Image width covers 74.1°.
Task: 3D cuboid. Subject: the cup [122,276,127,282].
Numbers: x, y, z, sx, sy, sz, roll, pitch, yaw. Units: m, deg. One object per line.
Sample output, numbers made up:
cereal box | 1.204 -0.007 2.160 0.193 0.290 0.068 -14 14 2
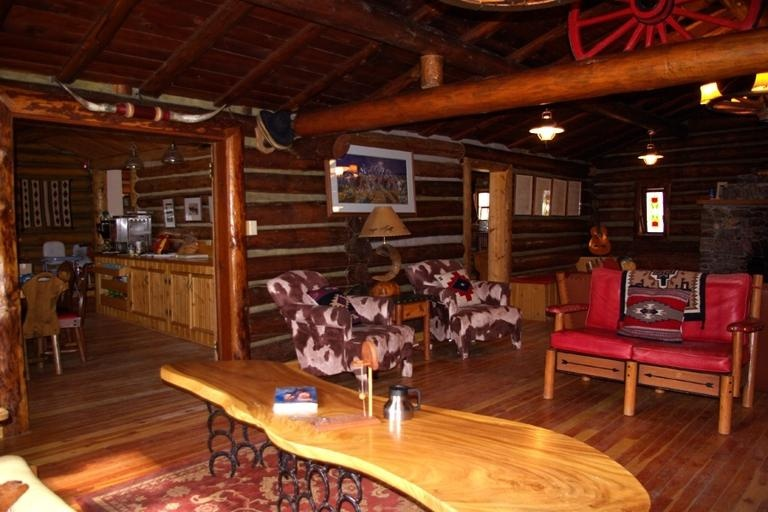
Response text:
cup | -4.317 0.377 8.492 0.116 0.060 0.058 3 10 28

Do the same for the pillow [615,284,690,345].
pillow | 2.633 0.554 4.949 0.650 0.473 0.186 6 -17 40

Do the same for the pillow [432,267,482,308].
pillow | 1.006 0.413 6.718 0.614 0.470 0.176 -11 -24 -40

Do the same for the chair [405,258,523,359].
chair | 1.081 0.629 6.975 1.451 1.022 1.549 -6 7 -40

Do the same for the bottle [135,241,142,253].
bottle | -4.055 -0.151 8.422 0.112 0.191 0.222 -8 11 -31

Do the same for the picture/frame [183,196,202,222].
picture/frame | -2.974 -0.749 7.961 0.549 0.370 0.059 2 8 44

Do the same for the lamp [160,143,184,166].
lamp | -3.170 -1.555 7.629 0.247 0.269 0.464 -5 9 -20

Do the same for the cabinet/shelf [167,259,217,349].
cabinet/shelf | -2.692 0.637 7.147 0.324 1.137 1.094 -10 12 -37

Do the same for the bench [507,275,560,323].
bench | 2.501 0.675 8.873 1.034 0.765 0.997 0 2 28
